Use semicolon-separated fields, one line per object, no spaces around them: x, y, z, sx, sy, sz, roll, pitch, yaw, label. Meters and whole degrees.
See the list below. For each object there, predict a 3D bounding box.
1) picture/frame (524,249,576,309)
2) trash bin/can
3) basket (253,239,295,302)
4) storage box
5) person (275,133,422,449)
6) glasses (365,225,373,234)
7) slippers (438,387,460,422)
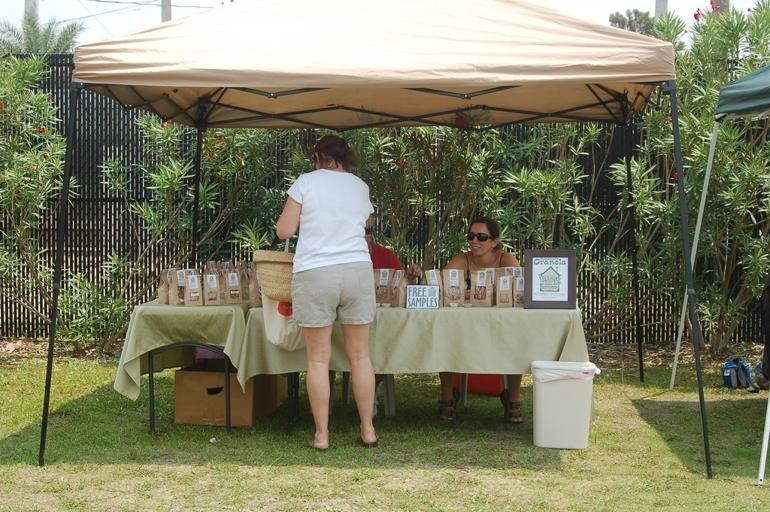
1.507;0.232;7.759;0.469;0.582;0.019;0;-7;-1;picture/frame
1.631;1.334;7.845;0.688;0.879;0.679;1;1;8;trash bin/can
-0.957;0.160;7.498;0.402;0.475;0.368;7;-6;-28;basket
-1.580;1.235;8.591;0.969;0.525;1.255;-6;10;-9;storage box
-0.479;0.340;7.538;0.787;2.645;0.568;-1;11;-6;person
-0.138;-0.240;8.002;0.057;0.050;0.063;0;5;-36;glasses
0.636;1.459;8.319;0.185;0.290;0.264;2;0;-12;slippers
